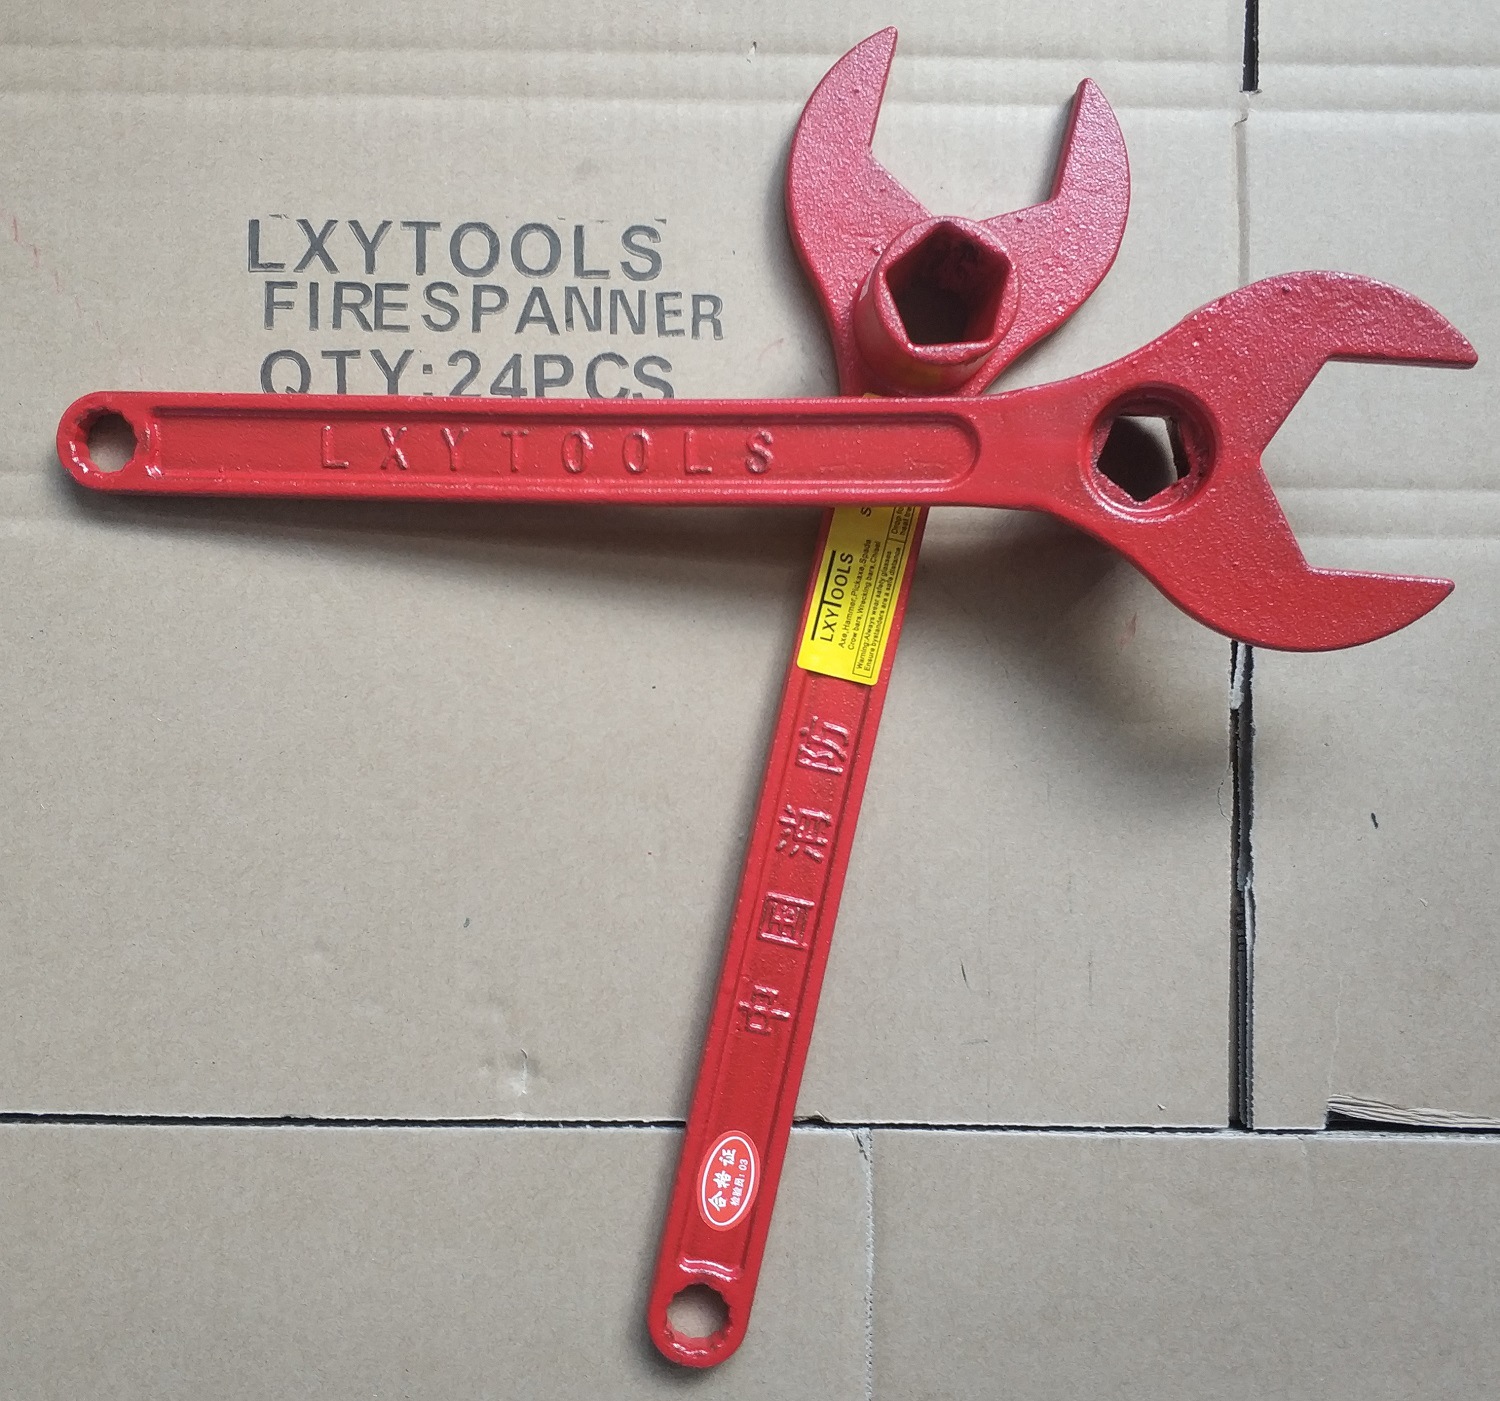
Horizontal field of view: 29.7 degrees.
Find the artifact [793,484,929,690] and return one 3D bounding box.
[{"bbox_3d":[0.079,-0.072,2.100,0.073,0.019,0.203,5,51,13],"label":"artifact"}]

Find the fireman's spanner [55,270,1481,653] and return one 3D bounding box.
[{"bbox_3d":[-0.018,-0.191,2.087,1.067,0.347,0.050,0,80,13],"label":"fireman's spanner"}]

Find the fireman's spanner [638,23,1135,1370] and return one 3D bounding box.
[{"bbox_3d":[0.093,-0.066,2.063,0.258,0.108,1.136,11,91,8],"label":"fireman's spanner"}]
